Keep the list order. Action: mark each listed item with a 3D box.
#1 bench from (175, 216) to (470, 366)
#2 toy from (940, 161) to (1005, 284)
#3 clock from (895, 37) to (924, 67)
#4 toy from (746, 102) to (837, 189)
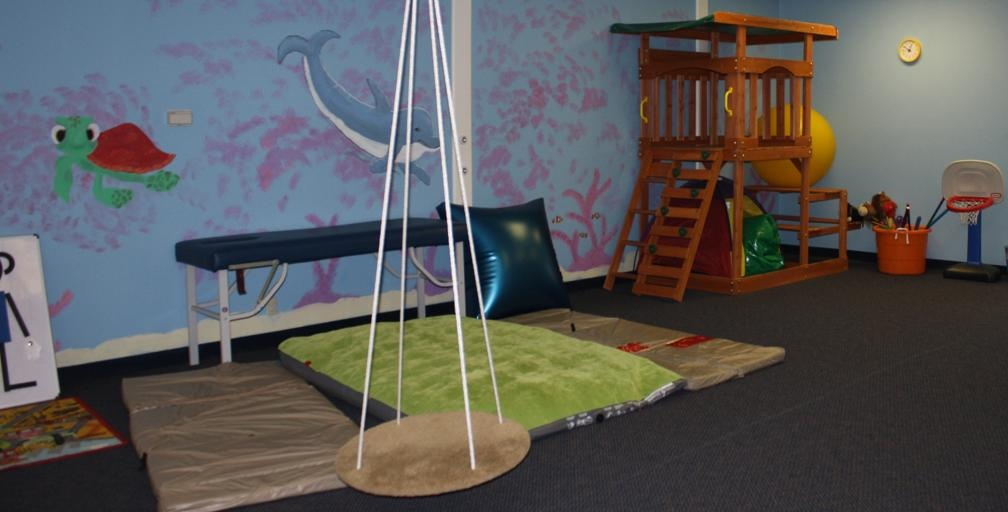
[{"bbox_3d":[-1.752,0.298,5.949,2.134,1.161,0.788,-6,11,-24],"label":"bench"},{"bbox_3d":[5.347,-0.425,7.506,0.612,1.333,0.601,3,12,26],"label":"toy"},{"bbox_3d":[4.938,-2.491,7.988,0.076,0.280,0.310,-2,8,-42],"label":"clock"},{"bbox_3d":[3.733,-1.414,8.632,1.197,1.203,1.159,7,11,28],"label":"toy"}]
